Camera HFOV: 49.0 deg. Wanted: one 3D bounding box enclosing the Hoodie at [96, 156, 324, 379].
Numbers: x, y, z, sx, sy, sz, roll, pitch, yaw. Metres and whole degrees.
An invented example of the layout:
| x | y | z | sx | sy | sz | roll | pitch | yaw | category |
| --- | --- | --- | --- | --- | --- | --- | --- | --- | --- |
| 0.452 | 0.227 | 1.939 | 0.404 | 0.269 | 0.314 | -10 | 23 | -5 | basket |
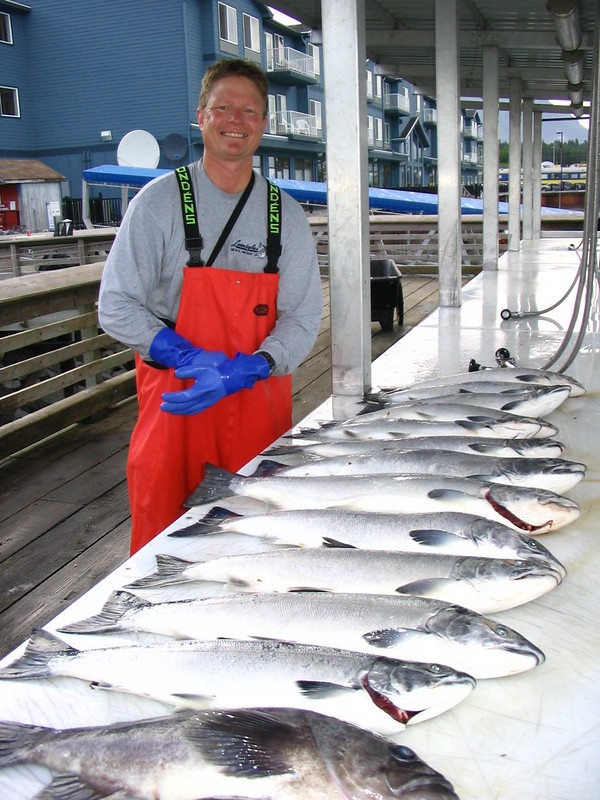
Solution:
| x | y | z | sx | sy | sz | roll | pitch | yaw | category |
| --- | --- | --- | --- | --- | --- | --- | --- | --- | --- |
| -0.273 | -0.398 | 2.040 | 0.767 | 0.612 | 0.419 | -3 | 28 | -30 | Hoodie |

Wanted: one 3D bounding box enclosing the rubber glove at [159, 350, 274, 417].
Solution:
| x | y | z | sx | sy | sz | roll | pitch | yaw | category |
| --- | --- | --- | --- | --- | --- | --- | --- | --- | --- |
| -0.246 | -0.086 | 1.828 | 0.294 | 0.074 | 0.155 | 9 | -3 | -21 | rubber glove |
